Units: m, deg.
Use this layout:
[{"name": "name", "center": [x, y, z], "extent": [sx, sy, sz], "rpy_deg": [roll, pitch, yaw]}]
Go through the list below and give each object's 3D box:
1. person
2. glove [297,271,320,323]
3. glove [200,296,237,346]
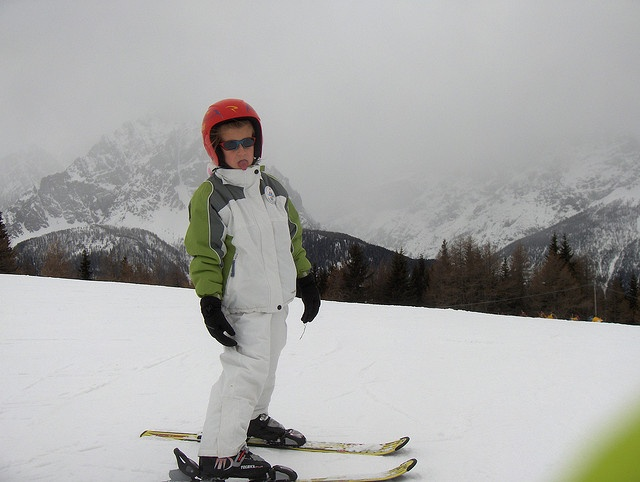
[{"name": "person", "center": [-0.539, 0.343, 4.606], "extent": [0.979, 2.886, 0.556], "rpy_deg": [0, -4, -24]}, {"name": "glove", "center": [-0.102, 0.466, 4.996], "extent": [0.245, 0.384, 0.108], "rpy_deg": [-5, 6, -27]}, {"name": "glove", "center": [-0.755, 0.608, 4.396], "extent": [0.223, 0.373, 0.142], "rpy_deg": [-4, 14, 37]}]
